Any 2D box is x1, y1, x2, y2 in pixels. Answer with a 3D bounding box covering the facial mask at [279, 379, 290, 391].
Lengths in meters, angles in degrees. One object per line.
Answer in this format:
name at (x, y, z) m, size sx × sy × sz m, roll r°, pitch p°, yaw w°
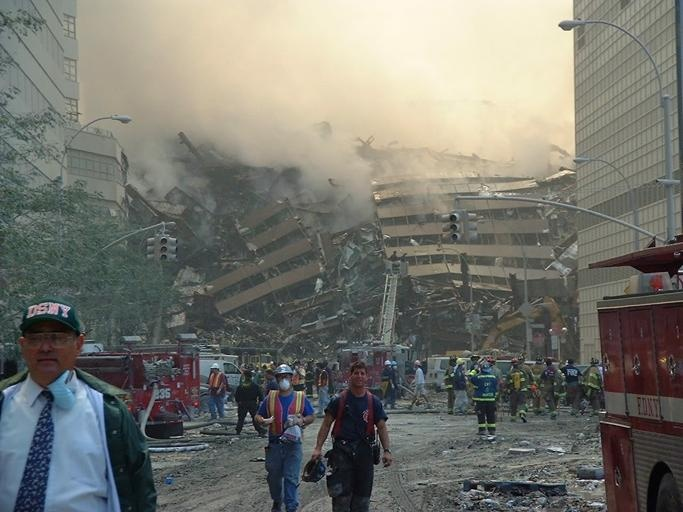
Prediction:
facial mask at (-0.811, 1.822, 11.422) m, size 0.163 × 0.122 × 0.152 m, roll 0°, pitch -15°, yaw 4°
